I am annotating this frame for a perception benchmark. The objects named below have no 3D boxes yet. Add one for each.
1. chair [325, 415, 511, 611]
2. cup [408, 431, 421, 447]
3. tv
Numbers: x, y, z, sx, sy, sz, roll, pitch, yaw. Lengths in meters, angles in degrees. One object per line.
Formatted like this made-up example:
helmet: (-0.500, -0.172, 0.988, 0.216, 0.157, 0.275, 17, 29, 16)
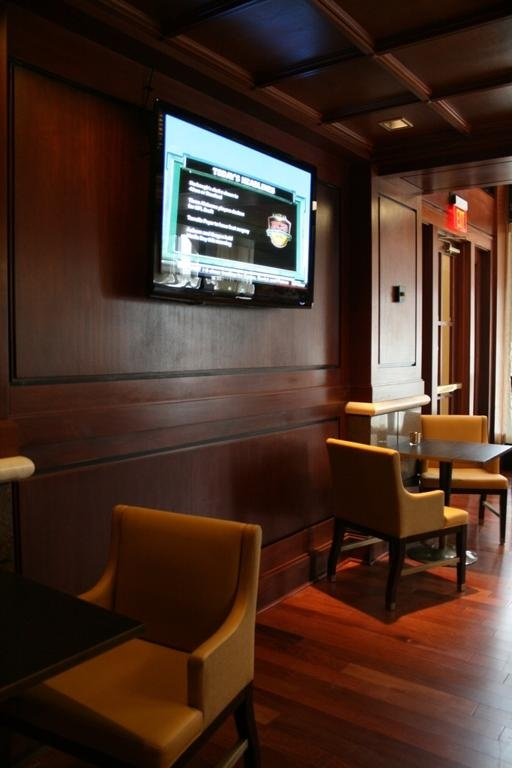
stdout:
chair: (0.834, 0.626, 3.650, 0.870, 1.368, 0.822, -6, 7, -28)
cup: (1.129, 0.392, 4.089, 0.065, 0.078, 0.096, -1, -2, -3)
tv: (-0.074, -0.761, 2.721, 1.026, 0.779, 0.087, -2, 5, -44)
